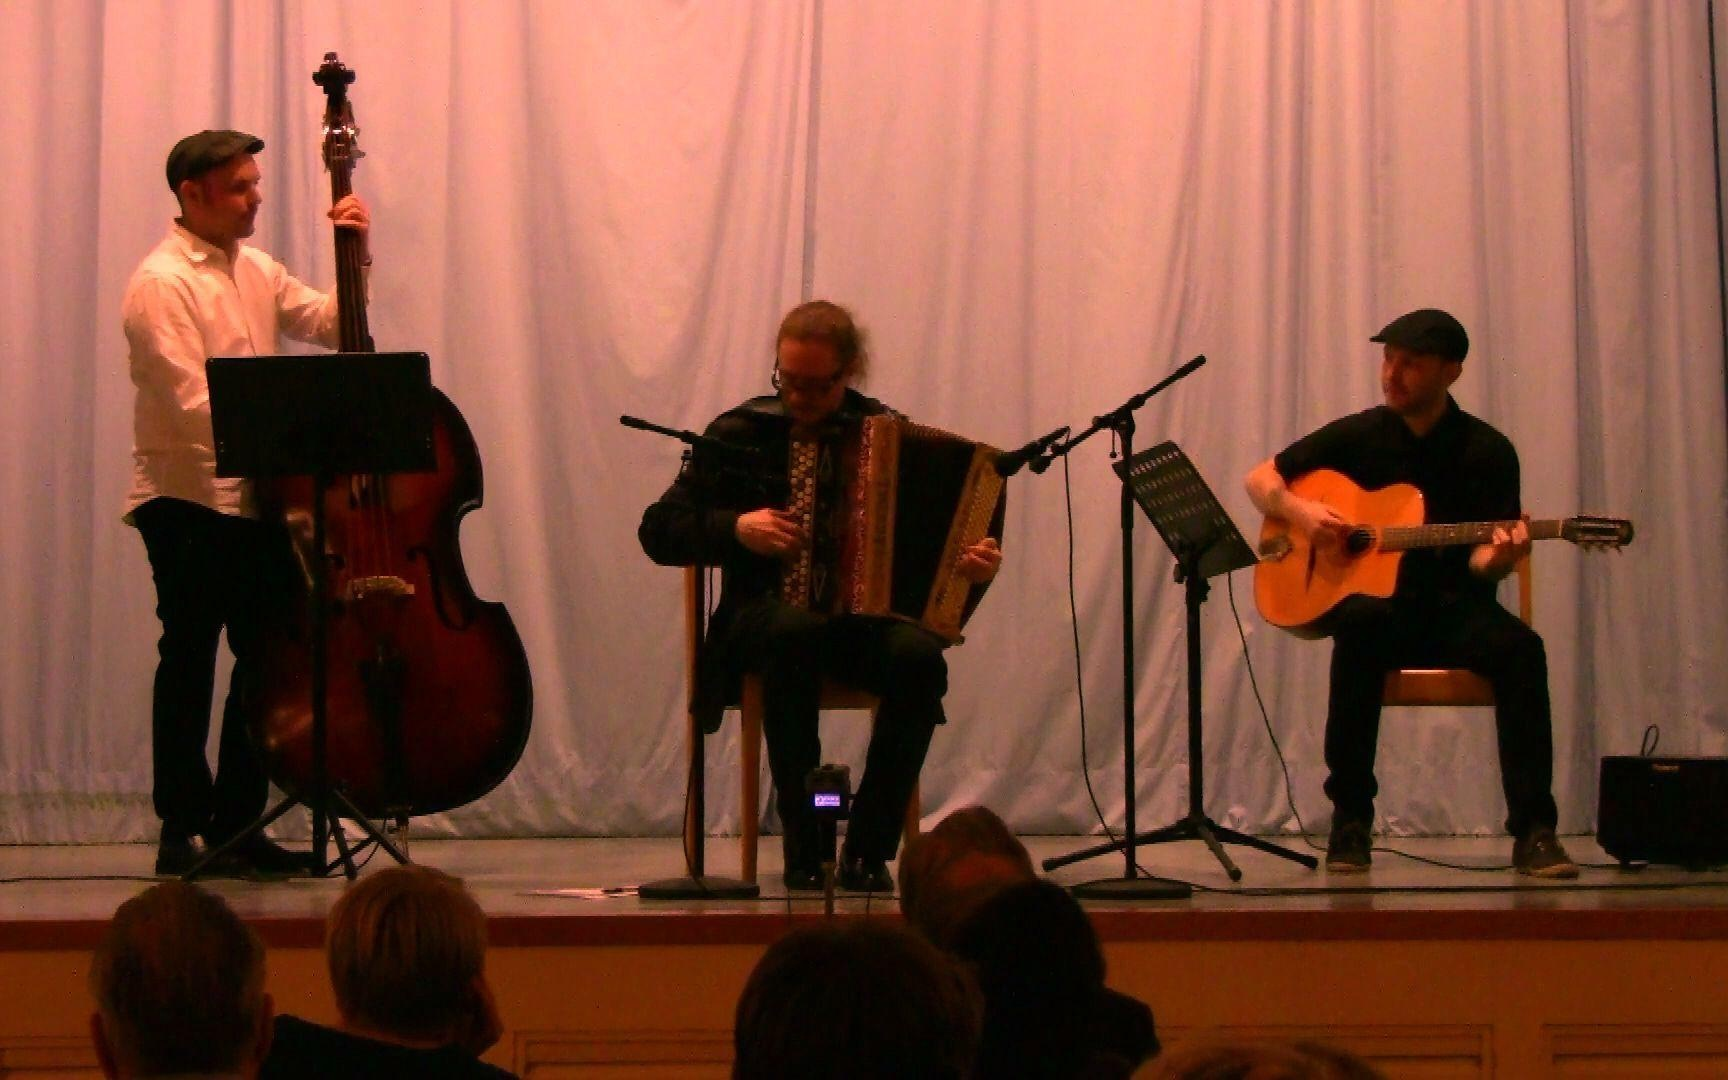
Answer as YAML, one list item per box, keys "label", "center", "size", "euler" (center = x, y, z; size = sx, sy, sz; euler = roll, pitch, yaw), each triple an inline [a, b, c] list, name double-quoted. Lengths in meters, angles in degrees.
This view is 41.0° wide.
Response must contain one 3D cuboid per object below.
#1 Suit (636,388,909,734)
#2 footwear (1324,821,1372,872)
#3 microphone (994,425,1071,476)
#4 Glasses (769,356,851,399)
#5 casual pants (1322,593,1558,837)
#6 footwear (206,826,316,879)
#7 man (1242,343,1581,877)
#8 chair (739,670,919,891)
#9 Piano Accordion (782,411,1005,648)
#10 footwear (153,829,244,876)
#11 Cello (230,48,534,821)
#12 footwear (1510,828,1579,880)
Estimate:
- label: "Suit"
  center: [-0.335, 0.069, 6.759]
  size: [0.879, 0.972, 0.237]
  euler: [9, 3, -20]
- label: "footwear"
  center: [1.538, 0.976, 7.340]
  size: [0.138, 0.147, 0.170]
  euler: [0, -3, 8]
- label: "microphone"
  center: [0.541, -0.289, 7.543]
  size: [0.222, 0.067, 0.078]
  euler: [-35, 23, 16]
- label: "Glasses"
  center: [-0.179, -0.488, 7.066]
  size: [0.220, 0.098, 0.106]
  euler: [0, -3, 6]
- label: "casual pants"
  center: [1.902, 0.578, 7.607]
  size: [0.812, 0.901, 0.457]
  euler: [1, -6, 12]
- label: "footwear"
  center: [-1.868, 0.977, 7.125]
  size: [0.274, 0.104, 0.184]
  euler: [3, -5, -35]
- label: "man"
  center: [1.716, 0.179, 7.413]
  size: [1.128, 1.857, 1.157]
  euler: [4, 9, 29]
- label: "chair"
  center: [-0.117, 0.745, 7.312]
  size: [0.610, 0.591, 0.608]
  euler: [0, 1, 0]
- label: "Piano Accordion"
  center: [0.061, -0.025, 7.048]
  size: [0.640, 0.628, 0.345]
  euler: [8, -4, -19]
- label: "footwear"
  center: [-2.118, 0.995, 7.202]
  size: [0.198, 0.185, 0.047]
  euler: [0, -26, -3]
- label: "Cello"
  center: [-1.441, -0.314, 7.084]
  size: [0.829, 2.351, 0.350]
  euler: [2, -4, -15]
- label: "footwear"
  center: [2.120, 0.978, 7.202]
  size: [0.202, 0.142, 0.183]
  euler: [-1, -4, 21]
